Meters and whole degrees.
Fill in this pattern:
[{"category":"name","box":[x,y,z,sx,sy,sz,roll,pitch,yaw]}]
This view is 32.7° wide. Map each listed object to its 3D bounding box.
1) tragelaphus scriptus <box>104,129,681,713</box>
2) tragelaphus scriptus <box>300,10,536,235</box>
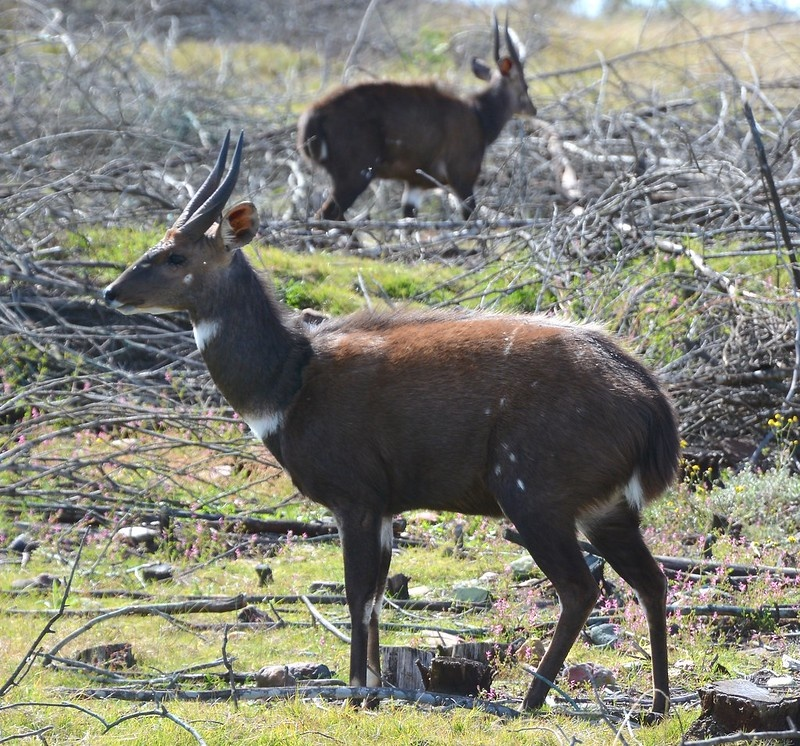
[{"category":"tragelaphus scriptus","box":[0.135,0.258,7.816,2.363,3.328,2.971,-1,2,1]},{"category":"tragelaphus scriptus","box":[0.263,-2.365,13.823,2.734,2.373,0.784,-8,19,-23]}]
